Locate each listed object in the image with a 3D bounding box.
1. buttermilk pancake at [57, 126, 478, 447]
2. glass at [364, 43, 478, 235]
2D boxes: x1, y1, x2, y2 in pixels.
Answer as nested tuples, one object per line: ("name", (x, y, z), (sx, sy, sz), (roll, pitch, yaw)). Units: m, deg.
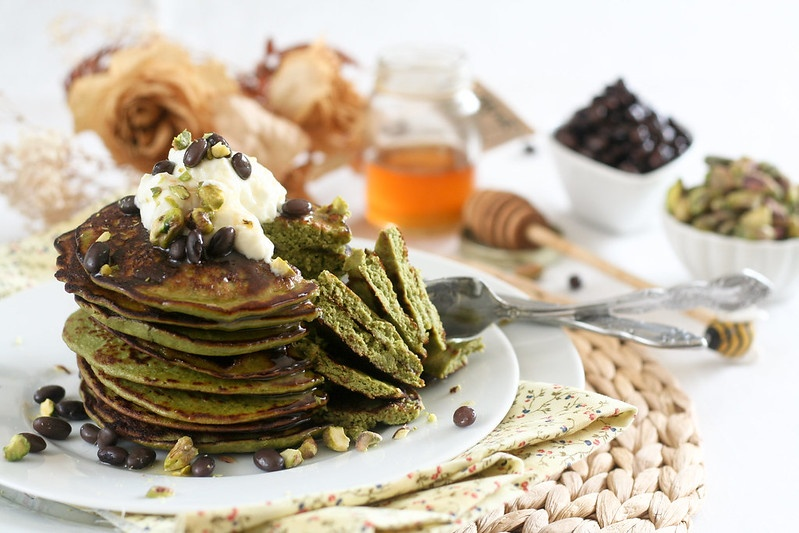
("buttermilk pancake", (-0.534, 0.189, 4.170), (1.920, 1.142, 1.565), (-15, 28, -35))
("glass", (0.240, -0.894, 6.120), (0.938, 1.264, 0.829), (7, 22, 15))
